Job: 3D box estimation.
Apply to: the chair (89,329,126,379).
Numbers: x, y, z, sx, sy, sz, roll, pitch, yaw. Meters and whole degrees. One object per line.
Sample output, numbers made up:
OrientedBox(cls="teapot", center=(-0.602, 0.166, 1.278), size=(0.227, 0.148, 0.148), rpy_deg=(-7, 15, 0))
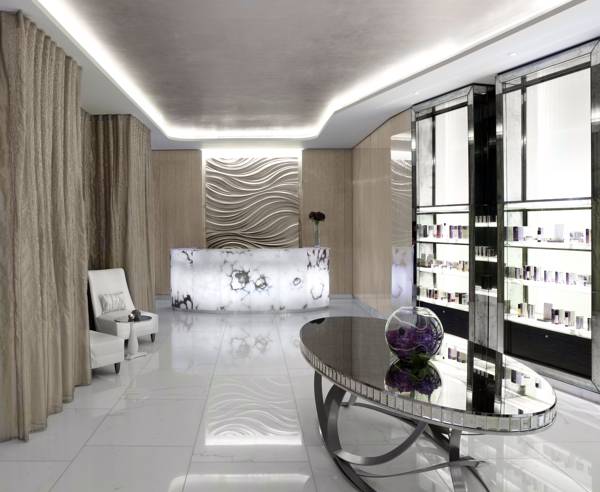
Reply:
OrientedBox(cls="chair", center=(-2.081, 1.074, 4.924), size=(0.371, 0.381, 0.529), rpy_deg=(-3, 5, -40))

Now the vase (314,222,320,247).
OrientedBox(cls="vase", center=(0.358, -0.222, 9.102), size=(0.102, 0.448, 0.252), rpy_deg=(-1, 8, 0))

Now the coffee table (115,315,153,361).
OrientedBox(cls="coffee table", center=(-1.961, 1.069, 5.575), size=(0.439, 0.471, 0.411), rpy_deg=(0, 3, -42))

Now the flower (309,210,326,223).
OrientedBox(cls="flower", center=(0.343, -0.546, 8.935), size=(0.284, 0.242, 0.536), rpy_deg=(0, 8, 5))
